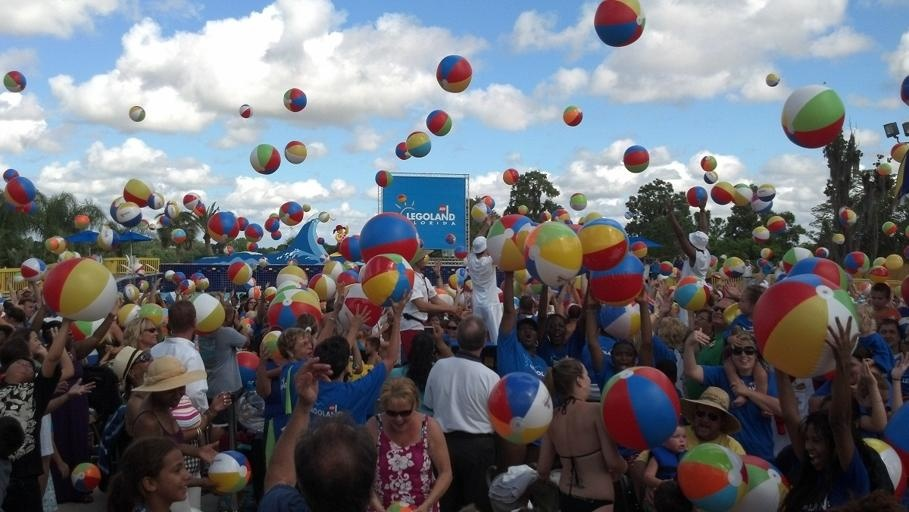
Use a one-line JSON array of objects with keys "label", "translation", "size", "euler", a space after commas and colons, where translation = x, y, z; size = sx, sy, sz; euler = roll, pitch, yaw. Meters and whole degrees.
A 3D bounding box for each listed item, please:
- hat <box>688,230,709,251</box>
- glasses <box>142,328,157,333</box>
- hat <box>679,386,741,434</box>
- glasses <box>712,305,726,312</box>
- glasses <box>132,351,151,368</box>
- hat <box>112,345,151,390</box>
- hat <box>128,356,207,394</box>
[{"label": "hat", "translation": [3.964, -0.252, 12.359], "size": [0.277, 0.314, 0.149], "euler": [1, -10, -2]}, {"label": "glasses", "translation": [-4.290, 1.041, 10.831], "size": [0.095, 0.088, 0.231], "euler": [-2, -12, 14]}, {"label": "hat", "translation": [3.091, 1.771, 8.979], "size": [0.540, 0.299, 0.567], "euler": [18, -20, 17]}, {"label": "glasses", "translation": [3.769, 0.757, 10.836], "size": [0.122, 0.112, 0.263], "euler": [-6, -13, 29]}, {"label": "glasses", "translation": [-4.053, 1.338, 9.939], "size": [0.212, 0.070, 0.213], "euler": [-43, 12, 8]}, {"label": "hat", "translation": [-4.217, 1.459, 10.007], "size": [0.401, 0.502, 0.408], "euler": [27, -1, -4]}, {"label": "hat", "translation": [-3.345, 1.380, 8.829], "size": [0.517, 0.201, 0.530], "euler": [-12, 1, 37]}]
